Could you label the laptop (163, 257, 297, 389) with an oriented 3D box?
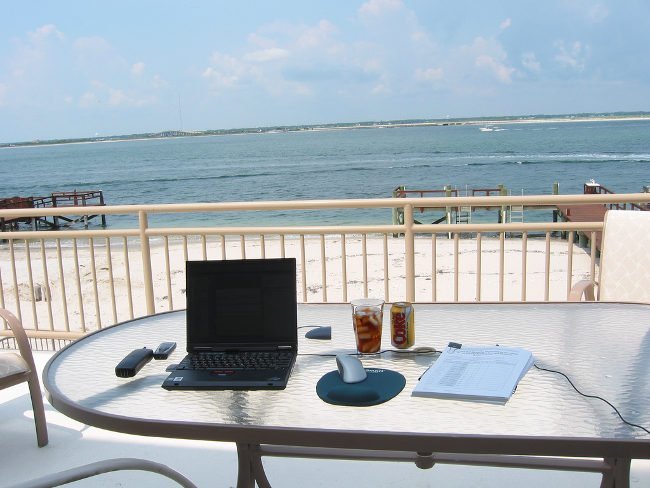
[{"bbox_3d":[-0.340,0.308,2.397,0.636,0.421,0.482,0,11,7],"label":"laptop"}]
